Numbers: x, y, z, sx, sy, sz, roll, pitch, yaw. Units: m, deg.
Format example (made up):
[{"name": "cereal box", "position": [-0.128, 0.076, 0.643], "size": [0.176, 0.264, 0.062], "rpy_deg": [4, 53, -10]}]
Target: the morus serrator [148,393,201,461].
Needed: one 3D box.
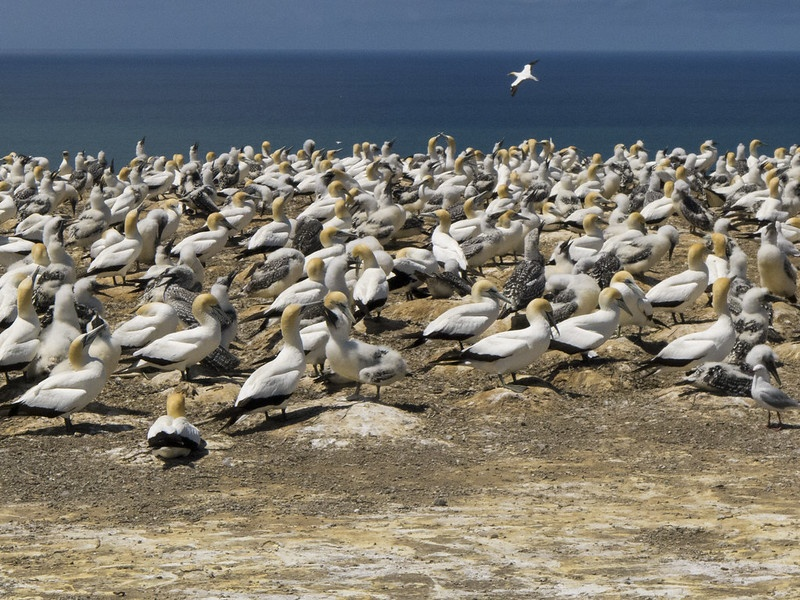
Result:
[{"name": "morus serrator", "position": [-3.342, 1.938, 21.803], "size": [0.784, 0.667, 1.104], "rpy_deg": [1, 2, 0]}]
